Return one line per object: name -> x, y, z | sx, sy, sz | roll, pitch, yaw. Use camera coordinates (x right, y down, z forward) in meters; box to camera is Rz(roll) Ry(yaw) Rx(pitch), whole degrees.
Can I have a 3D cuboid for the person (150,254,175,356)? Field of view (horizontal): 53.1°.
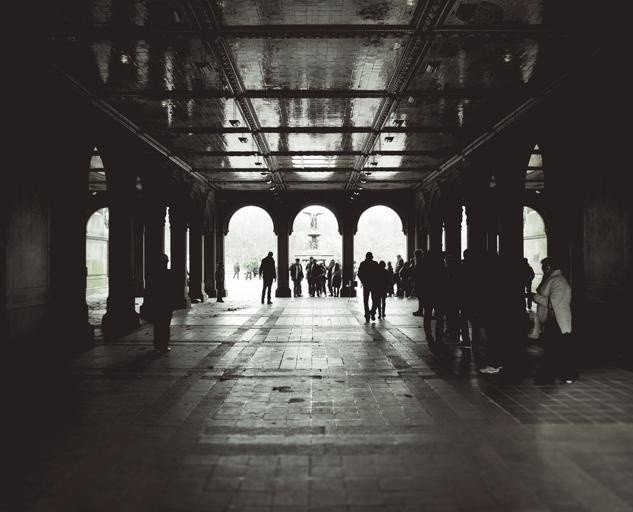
person -> -2.831, 0.887, 11.659 | 0.367, 1.718, 0.716 | -1, 4, -15
